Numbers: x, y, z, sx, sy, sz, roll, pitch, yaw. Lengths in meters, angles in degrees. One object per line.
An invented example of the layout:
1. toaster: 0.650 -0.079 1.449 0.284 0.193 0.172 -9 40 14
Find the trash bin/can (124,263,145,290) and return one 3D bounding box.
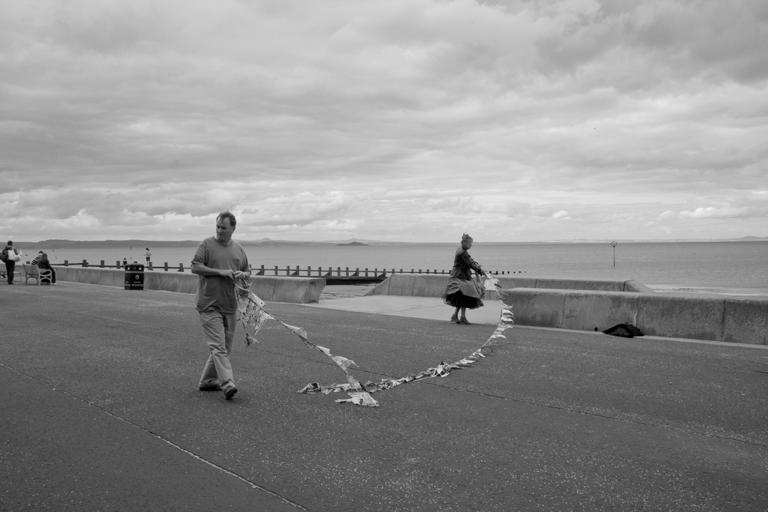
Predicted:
1. trash bin/can: -14.059 1.135 27.217 0.871 1.462 1.000 0 0 -30

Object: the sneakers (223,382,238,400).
1. sneakers: -2.082 1.808 6.556 0.136 0.316 0.139 5 28 -22

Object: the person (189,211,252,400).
1. person: -2.324 0.668 6.889 0.760 2.585 1.111 0 0 -16
